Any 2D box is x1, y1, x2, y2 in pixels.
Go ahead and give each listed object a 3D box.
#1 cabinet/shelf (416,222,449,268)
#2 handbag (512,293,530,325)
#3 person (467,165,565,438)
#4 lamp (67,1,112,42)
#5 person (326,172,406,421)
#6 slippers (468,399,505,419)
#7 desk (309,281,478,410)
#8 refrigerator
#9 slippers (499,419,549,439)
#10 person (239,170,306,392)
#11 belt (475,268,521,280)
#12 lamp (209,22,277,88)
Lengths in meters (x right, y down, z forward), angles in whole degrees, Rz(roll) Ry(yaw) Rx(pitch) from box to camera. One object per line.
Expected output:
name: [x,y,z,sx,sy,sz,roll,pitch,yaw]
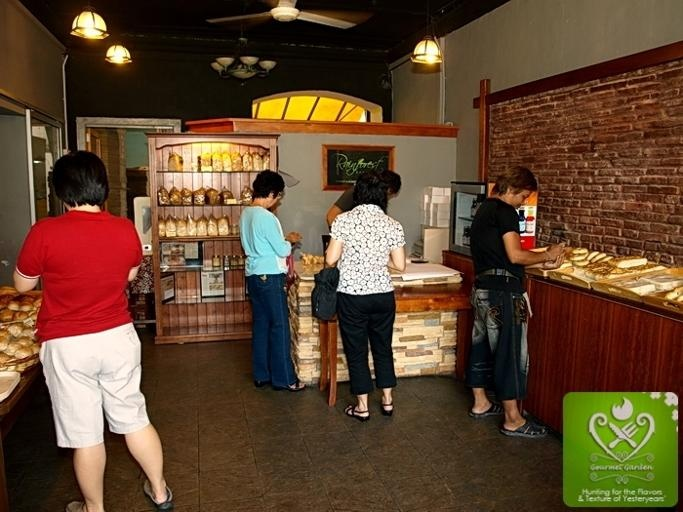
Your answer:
cabinet/shelf: [1.070,-0.144,5.958,0.464,0.405,0.323,8,14,37]
handbag: [1.322,0.401,3.647,0.153,0.200,0.068,2,-3,0]
person: [1.291,0.350,3.812,0.681,2.040,0.570,8,14,37]
lamp: [-2.852,-2.686,5.597,0.344,0.354,0.418,-6,13,-27]
person: [0.183,0.344,3.903,0.606,1.986,0.336,-2,11,-6]
slippers: [1.203,1.272,4.124,0.232,0.082,0.117,-2,2,-14]
desk: [0.454,0.775,4.654,1.390,0.917,0.728,-3,4,-26]
refrigerator: [1.437,-0.380,4.964,0.692,0.728,0.690,4,12,23]
slippers: [1.403,1.315,3.778,0.249,0.081,0.138,-3,3,5]
person: [-0.630,0.245,4.483,0.536,1.987,0.338,-1,11,-4]
belt: [1.175,0.125,3.697,0.269,0.071,0.063,3,12,17]
lamp: [-1.706,-3.501,8.545,1.047,0.903,1.067,-12,16,-43]
